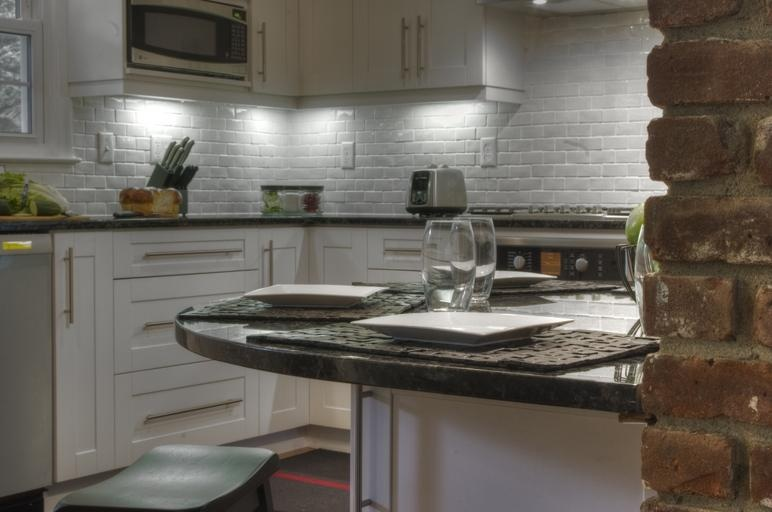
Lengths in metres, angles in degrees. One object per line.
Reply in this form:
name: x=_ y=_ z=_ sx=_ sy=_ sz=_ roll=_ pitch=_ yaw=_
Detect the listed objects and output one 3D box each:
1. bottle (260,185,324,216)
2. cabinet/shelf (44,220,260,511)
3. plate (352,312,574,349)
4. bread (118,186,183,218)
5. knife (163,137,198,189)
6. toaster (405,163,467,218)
bottle: x=-0.611 y=-0.359 z=3.895 sx=0.382 sy=0.183 sz=0.148 roll=-1 pitch=3 yaw=-11
cabinet/shelf: x=-0.933 y=0.475 z=3.189 sx=1.309 sy=1.245 sz=0.694 roll=-8 pitch=-12 yaw=13
plate: x=0.116 y=0.108 z=0.910 sx=0.288 sy=0.036 sz=0.164 roll=2 pitch=4 yaw=26
bread: x=-1.319 y=-0.300 z=3.376 sx=0.307 sy=0.153 sz=0.128 roll=-1 pitch=3 yaw=-25
knife: x=-1.277 y=-0.564 z=3.669 sx=0.221 sy=0.307 sz=0.170 roll=-2 pitch=4 yaw=-34
toaster: x=0.303 y=-0.395 z=3.666 sx=0.363 sy=0.272 sz=0.343 roll=2 pitch=4 yaw=16
